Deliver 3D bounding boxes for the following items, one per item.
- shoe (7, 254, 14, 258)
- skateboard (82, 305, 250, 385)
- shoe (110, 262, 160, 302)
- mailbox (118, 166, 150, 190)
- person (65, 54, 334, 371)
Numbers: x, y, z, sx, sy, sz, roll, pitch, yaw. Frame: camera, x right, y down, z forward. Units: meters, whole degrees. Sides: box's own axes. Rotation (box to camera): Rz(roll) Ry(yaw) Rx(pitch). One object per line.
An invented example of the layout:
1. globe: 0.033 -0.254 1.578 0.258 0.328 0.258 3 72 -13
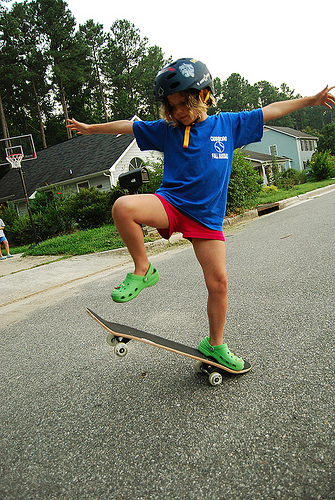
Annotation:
1. shoe: -5.956 0.231 13.049 0.123 0.161 0.359 0 4 -43
2. skateboard: 0.006 0.730 2.616 0.875 0.157 0.224 27 3 -18
3. shoe: -0.179 0.176 1.974 0.119 0.152 0.338 16 37 42
4. mailbox: -0.198 -0.435 2.048 0.181 0.104 0.179 -9 4 -6
5. person: 0.208 -0.163 2.089 1.204 1.256 0.464 -10 4 -14
